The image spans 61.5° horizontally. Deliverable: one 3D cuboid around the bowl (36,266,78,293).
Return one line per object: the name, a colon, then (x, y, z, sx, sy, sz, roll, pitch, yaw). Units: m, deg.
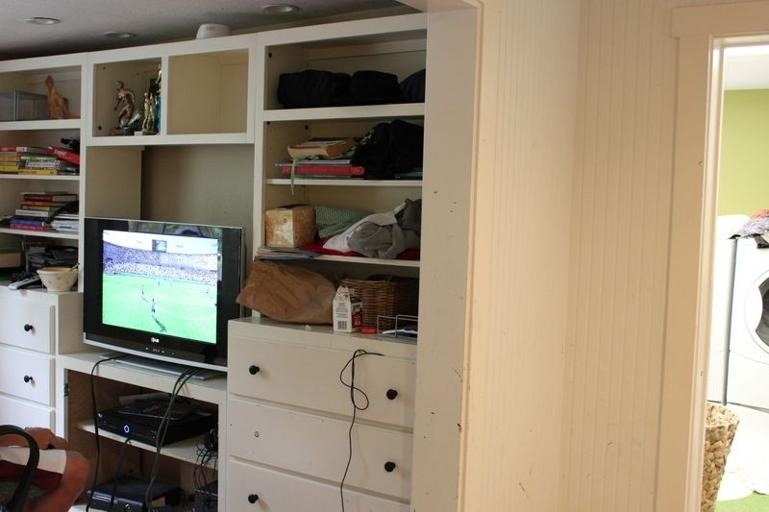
bowl: (-2.272, 0.165, 4.479, 0.206, 0.115, 0.201, 1, -1, 0)

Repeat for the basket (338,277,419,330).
basket: (-0.023, 0.231, 3.665, 0.394, 0.258, 0.309, 1, 2, 27)

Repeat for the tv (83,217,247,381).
tv: (-1.380, 0.285, 4.143, 1.142, 0.735, 0.185, 5, -1, 22)

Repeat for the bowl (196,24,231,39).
bowl: (-1.082, -1.410, 4.064, 0.150, 0.085, 0.144, 1, 2, 0)
